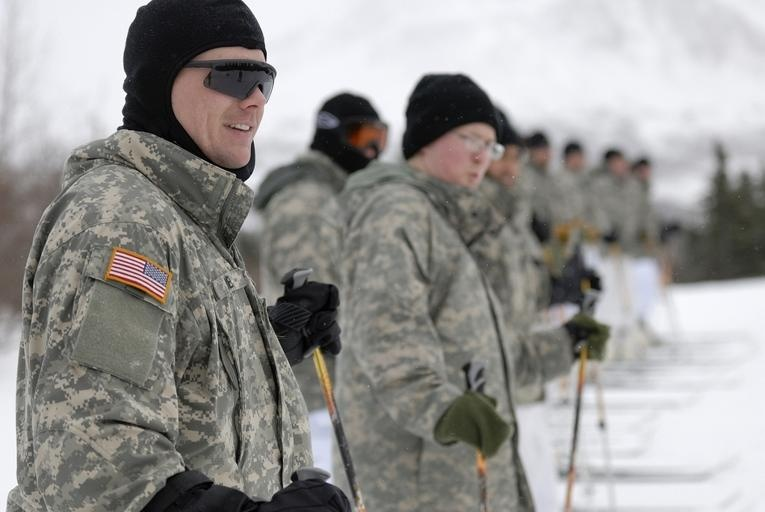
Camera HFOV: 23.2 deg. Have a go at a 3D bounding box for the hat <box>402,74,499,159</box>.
[{"bbox_3d":[0.260,-0.627,7.948,0.365,0.351,0.358,-5,-8,25],"label":"hat"}]

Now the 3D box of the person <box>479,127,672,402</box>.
[{"bbox_3d":[0.774,0.004,8.126,0.799,1.116,0.361,-1,5,-6],"label":"person"}]

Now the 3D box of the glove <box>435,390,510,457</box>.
[{"bbox_3d":[0.372,0.678,7.738,0.276,0.119,0.243,23,37,29],"label":"glove"}]

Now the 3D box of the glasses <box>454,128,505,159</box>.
[{"bbox_3d":[0.418,-0.470,7.932,0.138,0.056,0.111,29,5,23],"label":"glasses"}]
